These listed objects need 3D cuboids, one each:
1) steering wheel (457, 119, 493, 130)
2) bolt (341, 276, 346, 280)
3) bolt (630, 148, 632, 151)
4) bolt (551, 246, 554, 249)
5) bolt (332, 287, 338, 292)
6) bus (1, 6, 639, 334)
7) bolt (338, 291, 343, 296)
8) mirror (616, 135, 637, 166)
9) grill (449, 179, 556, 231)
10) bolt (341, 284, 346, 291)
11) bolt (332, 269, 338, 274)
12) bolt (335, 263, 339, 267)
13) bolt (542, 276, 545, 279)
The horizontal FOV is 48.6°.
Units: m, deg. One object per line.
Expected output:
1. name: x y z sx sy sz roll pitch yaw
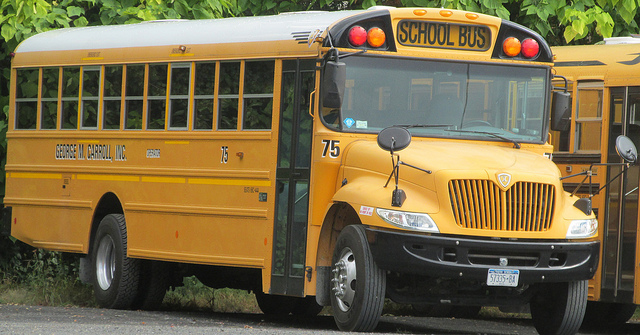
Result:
1. steering wheel: 2.462 -0.673 11.242 0.601 0.170 0.037 1 4 -17
2. bolt: 0.363 1.660 10.602 0.016 0.062 0.084 0 4 -32
3. bolt: 4.750 -0.269 10.823 0.035 0.033 0.008 -2 -12 2
4. bolt: 3.364 1.165 10.232 0.042 0.037 0.004 1 4 -17
5. bolt: 0.227 1.857 10.693 0.062 0.060 0.023 9 1 26
6. bus: -0.594 0.130 12.168 9.948 5.597 2.492 4 4 27
7. bolt: 0.314 1.900 10.636 0.076 0.072 0.011 5 4 30
8. mirror: 4.815 -0.261 11.104 0.374 0.370 0.120 41 -46 -18
9. grill: 2.648 0.547 10.207 1.609 0.714 0.199 2 4 -10
10. bolt: 0.352 1.812 10.593 0.051 0.067 0.036 -1 2 21
11. bolt: 0.231 1.578 10.723 0.008 0.068 0.112 -1 5 -42
12. bolt: 0.262 1.480 10.703 0.029 0.051 0.084 1 4 -21
13. bolt: 3.233 1.599 10.230 0.035 0.039 0.008 0 4 -28
